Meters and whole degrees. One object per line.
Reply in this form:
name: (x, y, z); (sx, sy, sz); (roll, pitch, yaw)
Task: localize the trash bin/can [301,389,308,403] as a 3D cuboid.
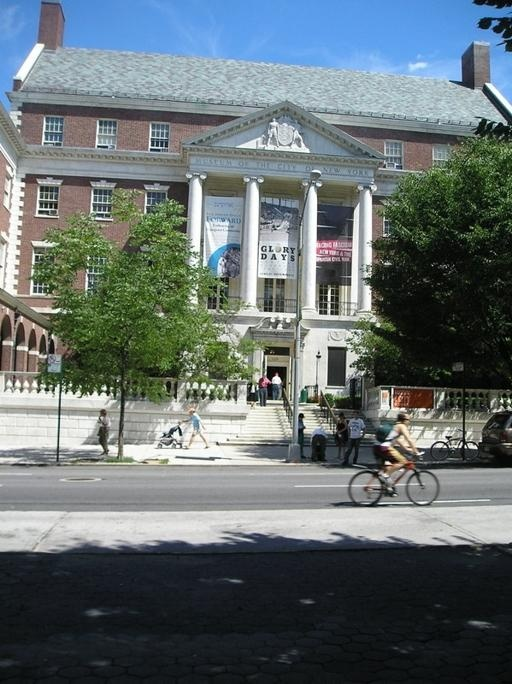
trash bin/can: (2.634, 2.940, 40.511); (0.611, 0.937, 0.588); (1, 4, 2)

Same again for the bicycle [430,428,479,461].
bicycle: (7.035, 3.595, 25.616); (2.257, 1.147, 1.014); (-2, 1, -8)

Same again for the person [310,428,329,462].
person: (2.014, 3.318, 23.627); (0.454, 1.018, 0.746); (2, -4, 5)

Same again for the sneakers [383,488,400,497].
sneakers: (2.229, 2.543, 12.351); (0.141, 0.098, 0.189); (6, -18, -16)

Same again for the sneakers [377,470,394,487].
sneakers: (2.184, 2.314, 12.390); (0.253, 0.225, 0.175); (6, -5, 9)

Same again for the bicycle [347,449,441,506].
bicycle: (2.411, 2.435, 12.810); (1.811, 0.933, 0.810); (-3, 1, -5)
